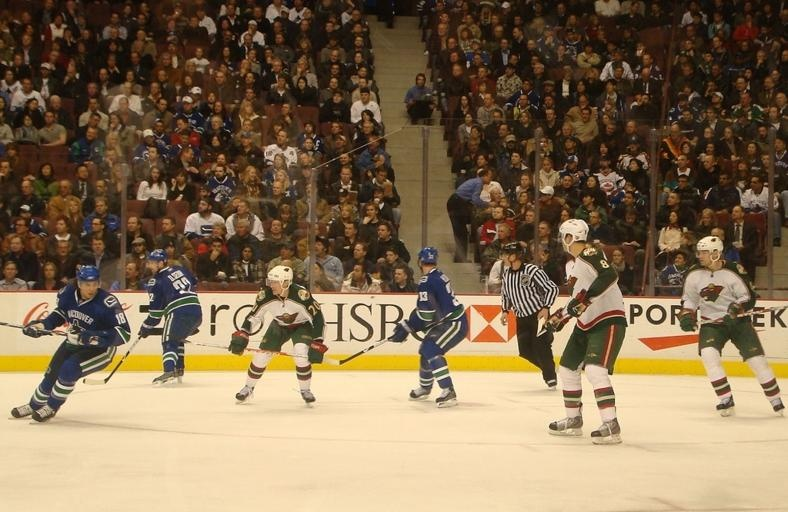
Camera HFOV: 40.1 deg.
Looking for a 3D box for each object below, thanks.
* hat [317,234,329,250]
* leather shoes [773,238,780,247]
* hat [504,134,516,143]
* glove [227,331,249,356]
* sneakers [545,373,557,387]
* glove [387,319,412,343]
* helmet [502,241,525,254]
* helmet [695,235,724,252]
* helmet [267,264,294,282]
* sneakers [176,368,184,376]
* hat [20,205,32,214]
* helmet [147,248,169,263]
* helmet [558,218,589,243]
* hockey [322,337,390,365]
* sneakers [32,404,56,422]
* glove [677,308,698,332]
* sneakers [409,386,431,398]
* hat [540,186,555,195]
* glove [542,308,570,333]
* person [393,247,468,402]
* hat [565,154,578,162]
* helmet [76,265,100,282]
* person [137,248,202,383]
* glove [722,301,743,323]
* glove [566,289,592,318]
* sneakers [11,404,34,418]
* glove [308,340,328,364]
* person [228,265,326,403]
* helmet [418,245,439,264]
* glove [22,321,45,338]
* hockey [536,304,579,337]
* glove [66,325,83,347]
[{"bbox_3d":[-1.180,-0.244,18.113,0.239,0.220,0.163,-2,7,-17],"label":"hat"},{"bbox_3d":[6.459,-0.219,18.288,0.119,0.102,0.095,-5,4,-24],"label":"leather shoes"},{"bbox_3d":[1.977,-2.019,18.466,0.184,0.117,0.144,2,8,5],"label":"hat"},{"bbox_3d":[-2.171,1.224,15.233,0.286,0.351,0.143,12,-1,-1],"label":"glove"},{"bbox_3d":[2.451,1.943,16.845,0.179,0.189,0.223,-17,-27,41],"label":"sneakers"},{"bbox_3d":[0.100,1.118,15.696,0.271,0.356,0.153,31,8,9],"label":"glove"},{"bbox_3d":[1.839,-0.135,16.572,0.258,0.202,0.197,-15,9,16],"label":"helmet"},{"bbox_3d":[4.492,-0.161,15.381,0.309,0.282,0.230,6,-5,6],"label":"helmet"},{"bbox_3d":[-1.586,0.229,15.124,0.299,0.222,0.229,-11,15,-22],"label":"helmet"},{"bbox_3d":[-3.348,1.823,16.930,0.134,0.122,0.084,1,3,-16],"label":"sneakers"},{"bbox_3d":[-6.086,-0.785,17.909,0.181,0.135,0.084,3,9,18],"label":"hat"},{"bbox_3d":[-3.628,0.018,16.740,0.283,0.221,0.207,20,35,-22],"label":"helmet"},{"bbox_3d":[2.337,-0.351,14.116,0.364,0.332,0.284,16,15,32],"label":"helmet"},{"bbox_3d":[-0.659,1.569,17.912,0.170,0.316,1.514,23,-28,-26],"label":"hockey"},{"bbox_3d":[-4.592,2.065,14.184,0.148,0.134,0.312,18,16,29],"label":"sneakers"},{"bbox_3d":[4.193,0.912,15.424,0.265,0.357,0.168,-3,-10,18],"label":"glove"},{"bbox_3d":[0.385,1.999,15.858,0.337,0.145,0.139,-15,-20,15],"label":"sneakers"},{"bbox_3d":[2.614,-1.109,18.374,0.192,0.096,0.137,13,4,-32],"label":"hat"},{"bbox_3d":[2.254,0.889,15.141,0.177,0.545,0.215,32,-13,9],"label":"glove"},{"bbox_3d":[0.535,1.030,15.614,0.993,2.238,0.993,1,9,5],"label":"person"},{"bbox_3d":[3.069,-1.691,18.613,0.186,0.118,0.039,-1,9,-13],"label":"hat"},{"bbox_3d":[-4.075,0.219,14.439,0.273,0.201,0.308,0,8,-7],"label":"helmet"},{"bbox_3d":[-3.526,0.943,16.868,0.965,2.088,0.674,-3,10,-24],"label":"person"},{"bbox_3d":[4.759,0.792,15.174,0.178,0.246,0.225,14,7,24],"label":"glove"},{"bbox_3d":[2.323,0.598,13.700,0.197,0.342,0.253,47,-11,-7],"label":"glove"},{"bbox_3d":[-4.914,2.061,14.340,0.326,0.111,0.135,-11,-18,-48],"label":"sneakers"},{"bbox_3d":[-1.092,1.358,15.207,0.246,0.296,0.312,7,-28,-8],"label":"glove"},{"bbox_3d":[-1.518,1.130,15.403,1.450,1.919,1.165,3,9,19],"label":"person"},{"bbox_3d":[0.509,-0.017,15.748,0.231,0.248,0.259,0,16,-8],"label":"helmet"},{"bbox_3d":[-4.880,0.980,14.656,0.262,0.132,0.342,2,1,-26],"label":"glove"},{"bbox_3d":[2.327,0.911,15.577,0.254,0.692,0.242,32,25,-22],"label":"hockey"},{"bbox_3d":[-4.266,1.061,14.455,0.186,0.236,0.443,-2,8,-17],"label":"glove"}]
